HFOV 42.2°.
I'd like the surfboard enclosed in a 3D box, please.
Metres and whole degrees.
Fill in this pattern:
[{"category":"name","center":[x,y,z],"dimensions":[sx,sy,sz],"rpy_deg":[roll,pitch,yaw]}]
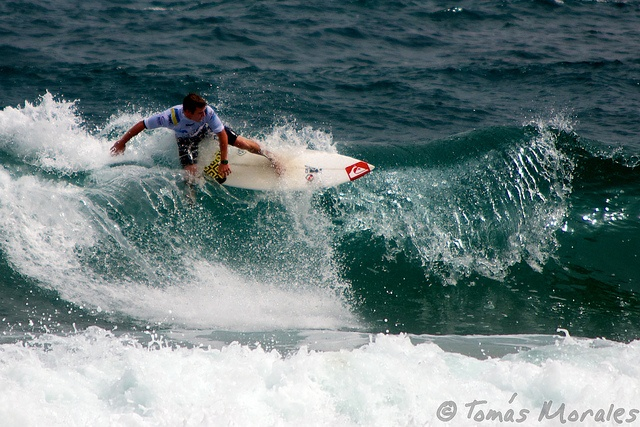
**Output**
[{"category":"surfboard","center":[-1.123,-1.075,17.106],"dimensions":[4.862,0.494,1.123],"rpy_deg":[3,68,-5]}]
